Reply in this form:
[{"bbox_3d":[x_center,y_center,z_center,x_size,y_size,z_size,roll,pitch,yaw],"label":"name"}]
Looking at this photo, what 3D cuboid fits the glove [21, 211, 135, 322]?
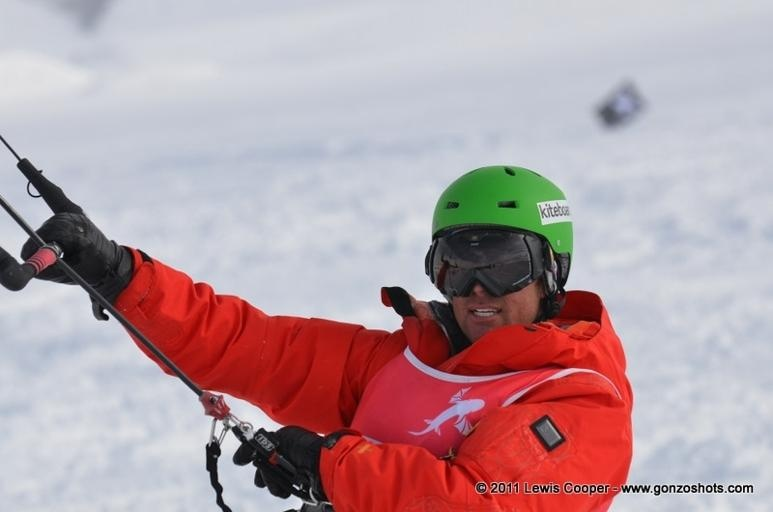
[{"bbox_3d":[-1.500,0.024,7.999,0.203,0.498,0.374,-58,29,-4],"label":"glove"}]
